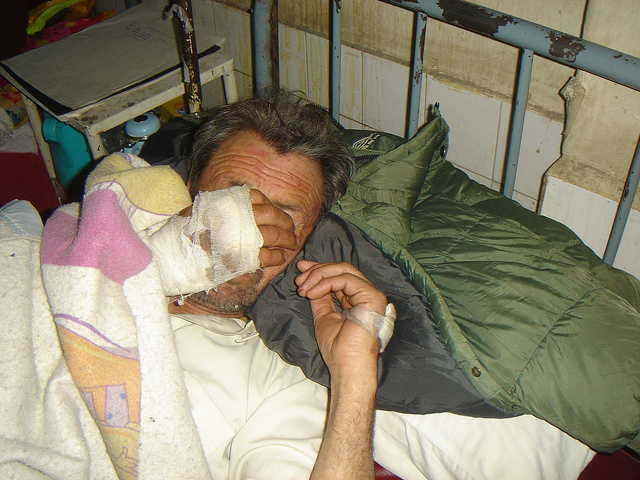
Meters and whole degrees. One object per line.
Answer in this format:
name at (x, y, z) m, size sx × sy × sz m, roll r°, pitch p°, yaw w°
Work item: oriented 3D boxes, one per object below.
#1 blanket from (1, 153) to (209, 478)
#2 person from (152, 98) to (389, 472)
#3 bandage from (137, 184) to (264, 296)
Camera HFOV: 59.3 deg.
blanket at (-0.573, 0.205, 1.365) m, size 0.505 × 0.685 × 0.219 m, roll -4°, pitch -8°, yaw -27°
person at (-0.238, 0.142, 1.590) m, size 0.375 × 1.007 × 0.718 m, roll -14°, pitch 3°, yaw 39°
bandage at (-0.260, 0.004, 1.343) m, size 0.306 × 0.193 × 0.124 m, roll -21°, pitch 1°, yaw 14°
